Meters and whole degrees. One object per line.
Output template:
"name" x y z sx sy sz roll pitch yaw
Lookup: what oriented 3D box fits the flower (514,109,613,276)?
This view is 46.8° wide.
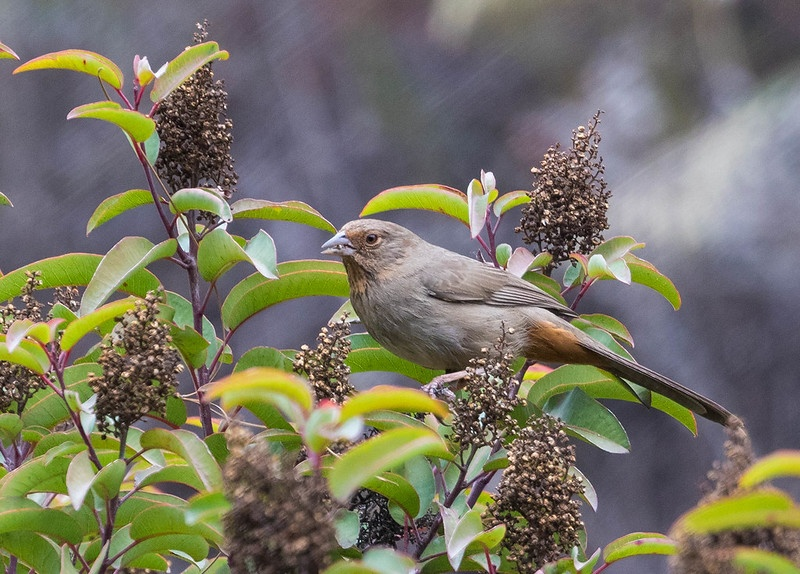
"flower" 0.819 -0.578 4.453 0.422 0.902 0.599 7 -26 18
